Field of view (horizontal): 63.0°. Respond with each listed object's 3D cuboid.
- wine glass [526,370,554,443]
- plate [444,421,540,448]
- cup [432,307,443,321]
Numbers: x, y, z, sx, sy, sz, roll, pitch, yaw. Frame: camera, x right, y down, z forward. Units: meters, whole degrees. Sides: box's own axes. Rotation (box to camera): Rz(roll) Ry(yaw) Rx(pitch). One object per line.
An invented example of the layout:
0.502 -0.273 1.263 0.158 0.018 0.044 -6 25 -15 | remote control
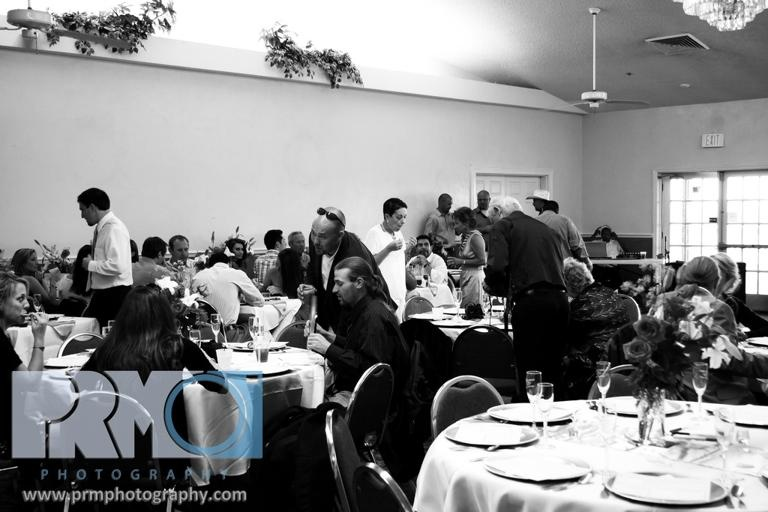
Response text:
0.733 0.685 2.949 0.114 0.234 0.320 2 1 14 | wine glass
0.506 0.841 2.959 0.443 0.065 0.237 2 1 9 | plate
0.524 0.567 6.112 0.110 0.112 0.095 -3 -4 37 | cup
